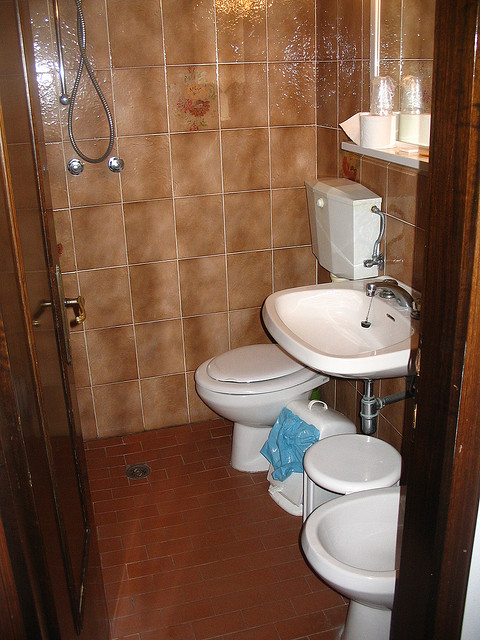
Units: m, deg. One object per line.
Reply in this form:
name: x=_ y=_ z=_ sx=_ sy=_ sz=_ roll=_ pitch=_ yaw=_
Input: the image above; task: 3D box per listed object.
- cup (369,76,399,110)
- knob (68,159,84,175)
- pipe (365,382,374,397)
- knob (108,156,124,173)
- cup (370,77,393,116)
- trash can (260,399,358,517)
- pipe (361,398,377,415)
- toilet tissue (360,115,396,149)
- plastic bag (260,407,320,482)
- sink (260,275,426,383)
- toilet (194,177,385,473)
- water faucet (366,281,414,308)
cup: x=0.457 y=-0.725 z=1.574 sx=0.071 sy=0.097 sz=0.052 roll=2 pitch=20 yaw=14
knob: x=-0.701 y=-0.656 z=2.104 sx=0.066 sy=0.063 sz=0.021 roll=-10 pitch=20 yaw=-18
pipe: x=0.385 y=0.205 z=1.466 sx=0.023 sy=0.041 sz=0.023 roll=2 pitch=20 yaw=14
knob: x=-0.538 y=-0.679 z=2.150 sx=0.065 sy=0.065 sz=0.017 roll=-8 pitch=19 yaw=-13
cup: x=0.455 y=-0.716 z=1.578 sx=0.067 sy=0.114 sz=0.053 roll=3 pitch=20 yaw=17
trash can: x=0.275 y=0.572 z=2.076 sx=0.347 sy=0.422 sz=0.263 roll=1 pitch=12 yaw=-38
pipe: x=0.388 y=0.258 z=1.472 sx=0.042 sy=0.051 sz=0.047 roll=10 pitch=32 yaw=21
toilet tissue: x=0.453 y=-0.615 z=1.605 sx=0.111 sy=0.108 sz=0.111 roll=8 pitch=34 yaw=20
plastic bag: x=0.217 y=0.505 z=2.017 sx=0.080 sy=0.278 sz=0.211 roll=-8 pitch=36 yaw=-40
sink: x=0.325 y=0.021 z=1.557 sx=0.375 sy=0.188 sz=0.436 roll=-9 pitch=26 yaw=-15
toilet: x=0.114 y=0.097 z=2.243 sx=0.770 sy=1.235 sz=0.529 roll=-4 pitch=14 yaw=-22
water faucet: x=0.480 y=-0.087 z=1.574 sx=0.157 sy=0.059 sz=0.073 roll=8 pitch=23 yaw=28
